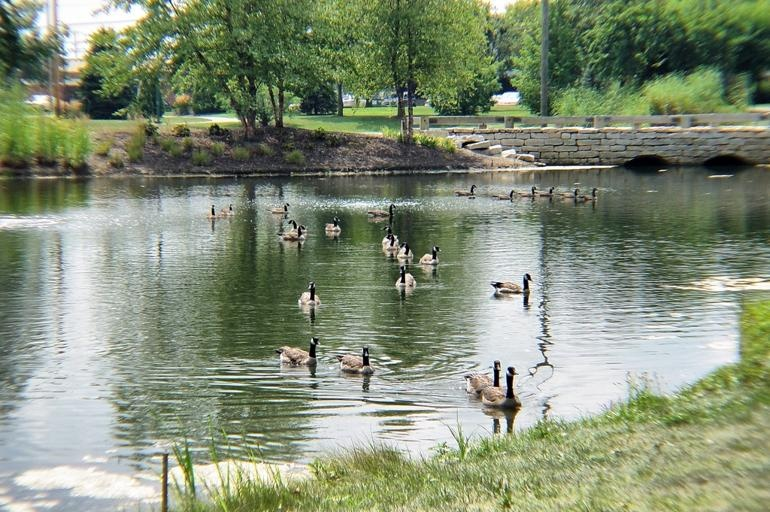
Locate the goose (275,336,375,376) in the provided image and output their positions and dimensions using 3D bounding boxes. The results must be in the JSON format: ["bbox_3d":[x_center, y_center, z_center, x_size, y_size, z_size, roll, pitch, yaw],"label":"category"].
[{"bbox_3d":[-1.713,2.906,28.740,3.005,0.998,0.843,-1,2,16],"label":"goose"}]

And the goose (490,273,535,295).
[{"bbox_3d":[4.412,0.977,34.363,1.762,1.013,0.601,1,11,6],"label":"goose"}]

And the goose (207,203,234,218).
[{"bbox_3d":[-8.325,-2.249,49.448,1.451,0.904,0.826,1,8,5],"label":"goose"}]

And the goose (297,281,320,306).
[{"bbox_3d":[-2.584,1.280,33.449,0.464,0.879,1.161,1,34,-13],"label":"goose"}]

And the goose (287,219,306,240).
[{"bbox_3d":[-3.895,-1.088,43.814,0.562,0.856,1.408,1,15,2],"label":"goose"}]
